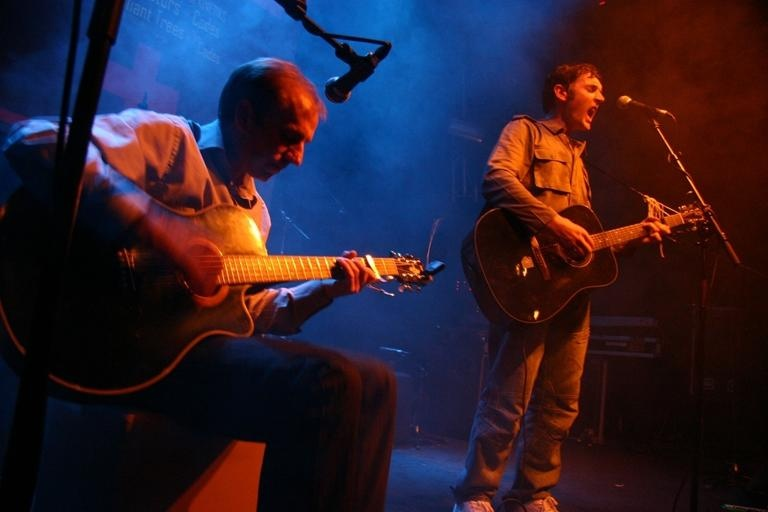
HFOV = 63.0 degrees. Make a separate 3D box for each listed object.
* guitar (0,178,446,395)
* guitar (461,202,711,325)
[{"bbox_3d":[-1.155,0.219,3.497,1.802,1.172,0.429,11,-3,-34],"label":"guitar"},{"bbox_3d":[1.162,0.053,4.552,1.202,0.769,0.375,11,-3,-22],"label":"guitar"}]
